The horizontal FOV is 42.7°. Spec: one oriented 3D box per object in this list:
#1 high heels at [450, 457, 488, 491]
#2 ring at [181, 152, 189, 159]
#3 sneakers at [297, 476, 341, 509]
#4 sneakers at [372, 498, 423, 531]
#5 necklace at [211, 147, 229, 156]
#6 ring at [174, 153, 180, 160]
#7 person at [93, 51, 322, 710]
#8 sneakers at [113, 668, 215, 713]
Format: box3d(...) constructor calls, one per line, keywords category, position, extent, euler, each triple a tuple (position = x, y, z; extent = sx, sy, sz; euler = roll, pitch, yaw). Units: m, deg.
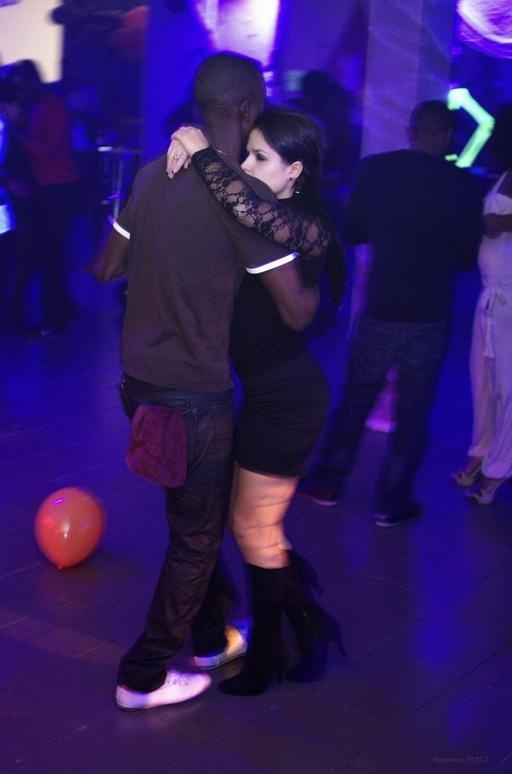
box3d(category="high heels", position=(1.124, 0.439, 3.440), extent=(0.242, 0.102, 0.084), euler=(-38, 18, -35))
box3d(category="ring", position=(-0.140, -0.464, 1.314), extent=(0.011, 0.014, 0.005), euler=(1, 49, -4))
box3d(category="sneakers", position=(0.315, 0.522, 3.223), extent=(0.161, 0.080, 0.113), euler=(17, 3, -33))
box3d(category="sneakers", position=(0.671, 0.587, 3.025), extent=(0.326, 0.044, 0.130), euler=(-6, 13, -30))
box3d(category="necklace", position=(-0.074, -0.481, 1.347), extent=(0.029, 0.007, 0.027), euler=(43, 18, 5))
box3d(category="ring", position=(-0.157, -0.465, 1.322), extent=(0.013, 0.012, 0.003), euler=(0, 3, 26))
box3d(category="person", position=(-0.136, 0.073, 1.574), extent=(0.410, 1.587, 0.486), euler=(-5, 13, -26))
box3d(category="sneakers", position=(-0.240, 0.766, 1.754), extent=(0.252, 0.101, 0.089), euler=(-9, 6, -27))
